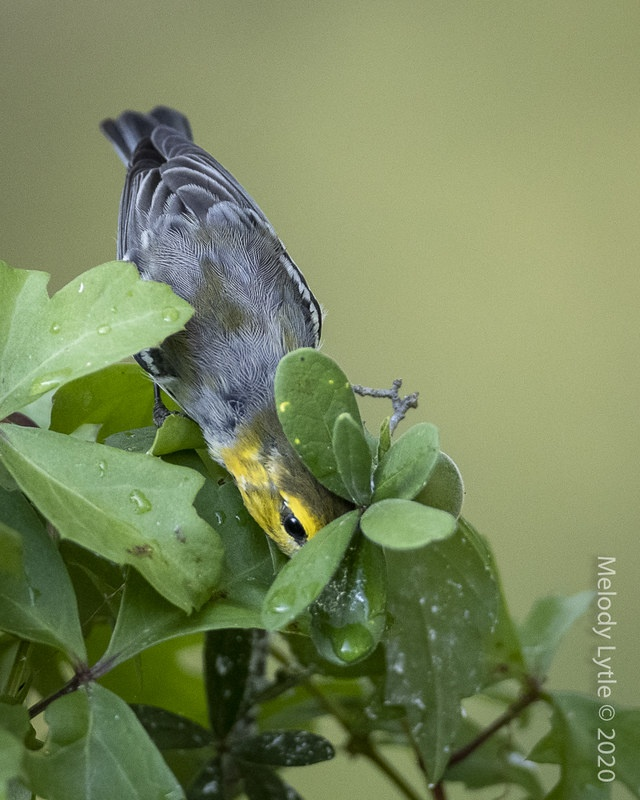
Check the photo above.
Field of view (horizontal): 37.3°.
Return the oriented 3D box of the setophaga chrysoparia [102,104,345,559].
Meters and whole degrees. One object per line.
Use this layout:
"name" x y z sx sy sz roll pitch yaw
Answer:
"setophaga chrysoparia" -0.199 -0.197 1.792 0.346 0.885 0.410 -13 -16 -29
